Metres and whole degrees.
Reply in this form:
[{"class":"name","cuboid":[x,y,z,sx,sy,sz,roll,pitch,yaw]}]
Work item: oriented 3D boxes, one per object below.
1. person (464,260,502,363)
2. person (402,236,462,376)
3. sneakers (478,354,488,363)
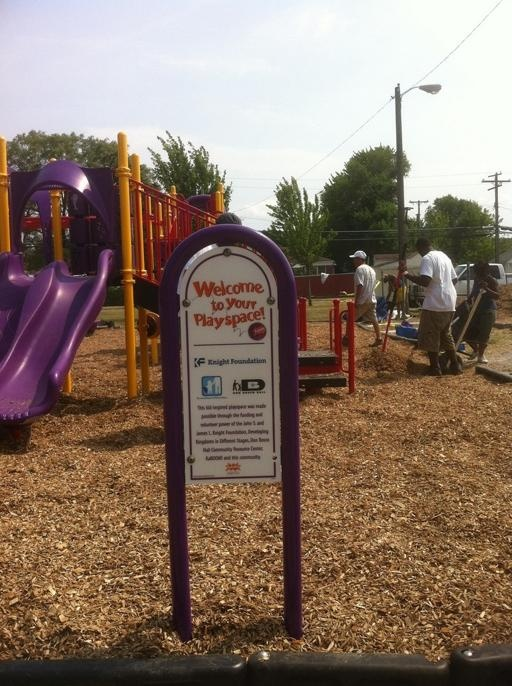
[{"class":"person","cuboid":[2.901,-0.371,9.991,0.412,1.320,0.883,1,8,16]},{"class":"person","cuboid":[2.063,-0.420,8.919,0.580,1.543,1.110,1,8,14]},{"class":"sneakers","cuboid":[2.919,0.213,10.014,0.105,0.112,0.303,4,14,19]}]
